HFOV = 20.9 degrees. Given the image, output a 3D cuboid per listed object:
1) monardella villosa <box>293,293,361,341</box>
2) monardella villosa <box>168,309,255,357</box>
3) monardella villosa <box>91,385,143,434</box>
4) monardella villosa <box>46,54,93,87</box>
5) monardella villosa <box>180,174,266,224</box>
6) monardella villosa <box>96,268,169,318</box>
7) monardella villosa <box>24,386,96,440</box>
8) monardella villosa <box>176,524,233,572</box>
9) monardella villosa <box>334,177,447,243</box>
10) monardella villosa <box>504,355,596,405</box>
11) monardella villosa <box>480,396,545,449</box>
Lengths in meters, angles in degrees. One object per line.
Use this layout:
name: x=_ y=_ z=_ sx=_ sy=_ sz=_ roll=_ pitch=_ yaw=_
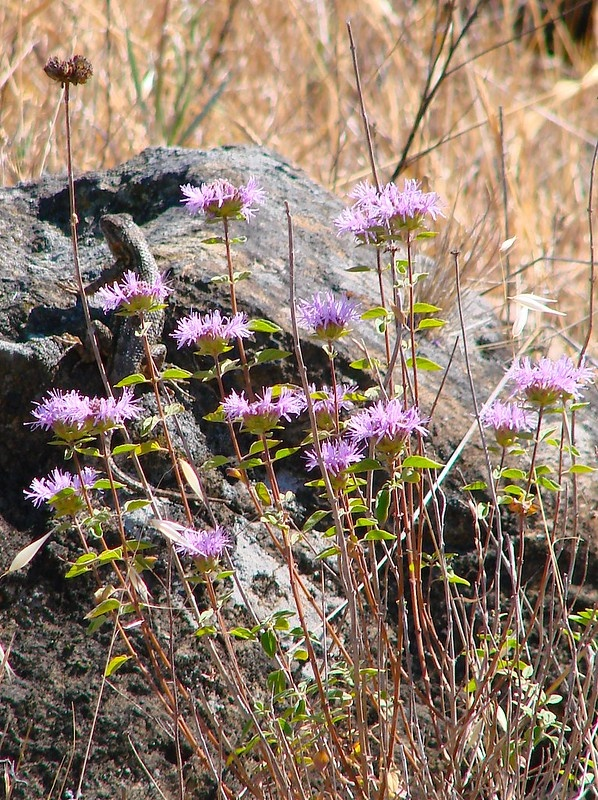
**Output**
monardella villosa: x=0.086 y=-0.249 z=4.935 sx=0.201 sy=0.172 sz=0.178 roll=3 pitch=12 yaw=15
monardella villosa: x=-0.267 y=-0.193 z=4.971 sx=0.229 sy=0.155 sz=0.220 roll=0 pitch=12 yaw=0
monardella villosa: x=-0.563 y=0.033 z=4.942 sx=0.129 sy=0.110 sz=0.213 roll=2 pitch=12 yaw=10
monardella villosa: x=-0.700 y=-0.966 z=4.899 sx=0.115 sy=0.068 sz=0.115 roll=-14 pitch=36 yaw=-28
monardella villosa: x=-0.254 y=-0.620 z=5.084 sx=0.242 sy=0.143 sz=0.264 roll=5 pitch=13 yaw=-7
monardella villosa: x=-0.513 y=-0.328 z=5.002 sx=0.200 sy=0.137 sz=0.245 roll=-2 pitch=12 yaw=-7
monardella villosa: x=-0.721 y=0.054 z=4.890 sx=0.213 sy=0.141 sz=0.101 roll=5 pitch=13 yaw=24
monardella villosa: x=-0.298 y=0.457 z=4.926 sx=0.158 sy=0.140 sz=0.159 roll=-13 pitch=15 yaw=-27
monardella villosa: x=0.265 y=-0.573 z=4.992 sx=0.281 sy=0.198 sz=0.375 roll=-7 pitch=14 yaw=-32
monardella villosa: x=0.776 y=-0.057 z=5.024 sx=0.258 sy=0.165 sz=0.255 roll=2 pitch=12 yaw=9
monardella villosa: x=0.664 y=0.086 z=5.118 sx=0.162 sy=0.152 sz=0.166 roll=13 pitch=21 yaw=-5
